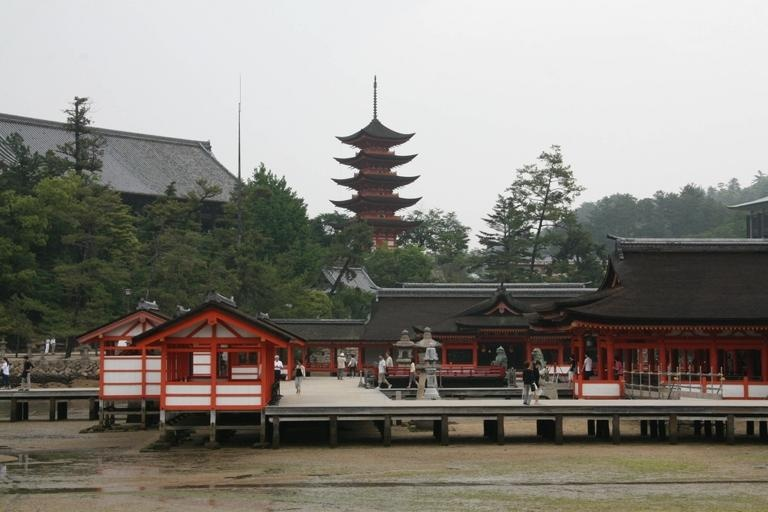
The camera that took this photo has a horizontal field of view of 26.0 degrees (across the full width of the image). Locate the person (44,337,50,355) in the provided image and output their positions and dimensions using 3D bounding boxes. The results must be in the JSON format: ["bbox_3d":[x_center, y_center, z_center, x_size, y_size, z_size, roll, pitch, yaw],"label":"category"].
[{"bbox_3d":[-22.613,6.104,112.047,0.442,1.171,1.361,0,-12,-11],"label":"person"}]
